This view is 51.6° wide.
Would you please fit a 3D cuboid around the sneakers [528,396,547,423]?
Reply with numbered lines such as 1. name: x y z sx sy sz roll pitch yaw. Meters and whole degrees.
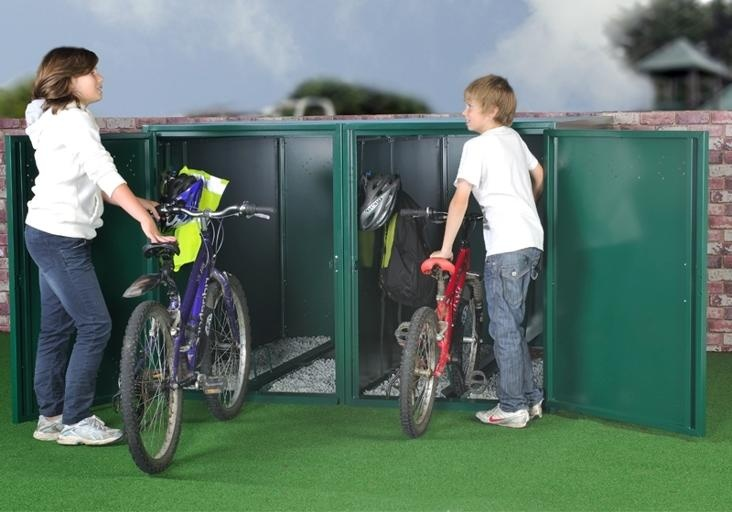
1. sneakers: 1.081 1.005 4.855 0.080 0.143 0.144 -1 -6 4

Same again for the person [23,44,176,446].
1. person: -1.478 -0.055 4.673 0.948 2.415 1.033 3 3 36

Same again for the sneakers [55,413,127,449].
1. sneakers: -1.645 1.070 4.596 0.390 0.195 0.162 0 -5 -3

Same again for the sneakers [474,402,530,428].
1. sneakers: 0.862 1.020 4.819 0.327 0.162 0.130 4 4 20

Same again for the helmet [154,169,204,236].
1. helmet: -1.173 -0.330 4.755 0.144 0.294 0.383 8 -39 -24

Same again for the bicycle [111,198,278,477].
1. bicycle: -1.026 0.488 4.837 0.821 1.159 1.758 3 12 14

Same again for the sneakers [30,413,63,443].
1. sneakers: -1.927 1.056 4.631 0.094 0.120 0.250 2 7 7

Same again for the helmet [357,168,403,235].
1. helmet: 0.076 -0.357 5.082 0.262 0.378 0.134 15 16 -32

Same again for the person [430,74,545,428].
1. person: 0.809 -0.011 4.697 0.632 2.157 0.485 3 13 13

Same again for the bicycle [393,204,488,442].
1. bicycle: 0.522 0.471 5.028 0.646 0.864 1.368 0 17 17
